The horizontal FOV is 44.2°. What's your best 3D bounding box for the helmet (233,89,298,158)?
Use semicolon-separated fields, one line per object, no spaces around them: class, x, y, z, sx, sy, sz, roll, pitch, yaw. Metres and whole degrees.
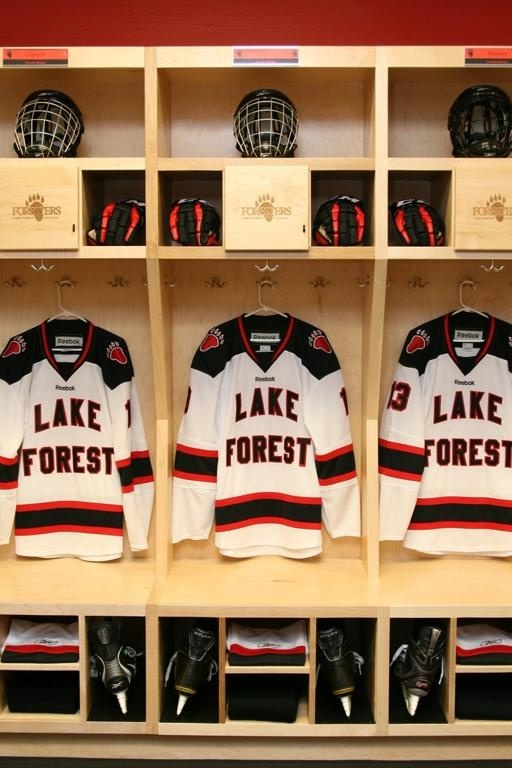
helmet;0.036;-0.893;2.191;0.187;0.269;0.218;-2;7;1

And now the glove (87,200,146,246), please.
glove;-0.507;-0.569;2.310;0.202;0.176;0.260;0;0;-12

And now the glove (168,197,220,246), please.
glove;-0.212;-0.558;2.205;0.131;0.195;0.065;1;-19;-9

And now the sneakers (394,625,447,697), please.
sneakers;0.548;0.931;2.174;0.101;0.215;0.304;16;-5;-2

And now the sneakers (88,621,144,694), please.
sneakers;-0.491;0.945;2.233;0.132;0.198;0.269;-6;-5;2

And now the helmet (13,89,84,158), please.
helmet;-0.711;-0.891;2.288;0.193;0.239;0.254;5;-10;-2

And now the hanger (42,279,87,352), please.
hanger;-0.751;-0.272;2.510;0.256;0.320;0.023;-1;-3;4

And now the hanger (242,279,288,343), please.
hanger;0.043;-0.296;2.509;0.173;0.263;0.045;0;-17;7

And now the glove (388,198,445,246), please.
glove;0.560;-0.565;2.230;0.136;0.070;0.202;1;27;-7

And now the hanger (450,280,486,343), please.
hanger;0.840;-0.285;2.503;0.221;0.265;0.039;0;5;3

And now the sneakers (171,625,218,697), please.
sneakers;-0.209;0.948;2.215;0.128;0.239;0.094;10;-15;7

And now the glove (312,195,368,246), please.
glove;0.281;-0.560;2.222;0.193;0.190;0.157;0;0;18

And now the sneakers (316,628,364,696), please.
sneakers;0.305;0.963;2.180;0.095;0.120;0.263;-7;16;7
